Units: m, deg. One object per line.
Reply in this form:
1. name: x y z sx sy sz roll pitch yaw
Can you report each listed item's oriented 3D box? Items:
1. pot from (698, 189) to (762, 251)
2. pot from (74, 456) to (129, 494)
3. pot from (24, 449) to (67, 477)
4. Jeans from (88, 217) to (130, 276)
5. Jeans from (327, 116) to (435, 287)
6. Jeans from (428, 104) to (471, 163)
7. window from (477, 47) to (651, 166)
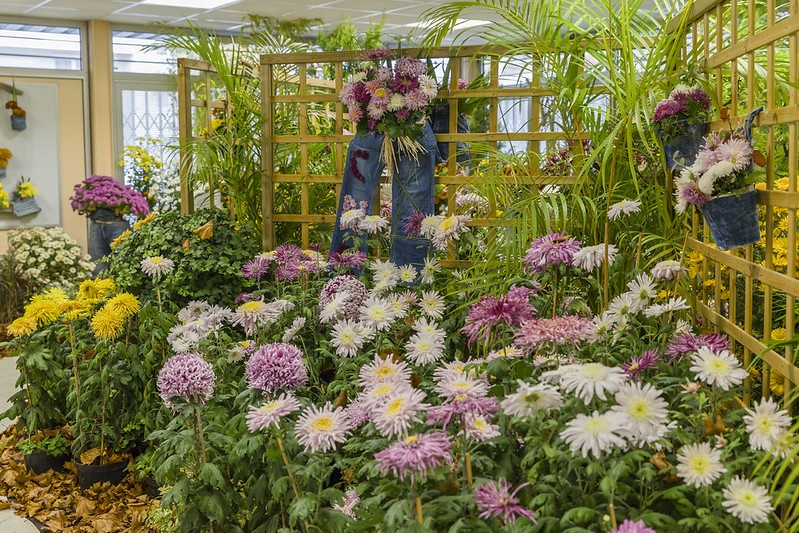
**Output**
1. pot: 1.182 -0.183 2.257 0.213 0.213 0.218 -15 7 2
2. pot: -1.438 0.999 3.010 0.170 0.134 0.186 0 -9 0
3. pot: -1.812 1.007 3.215 0.141 0.068 0.130 0 -6 0
4. Jeans: -2.368 -0.117 5.092 0.256 0.593 0.189 4 19 -13
5. Jeans: -0.067 -0.390 3.564 0.544 0.228 1.238 0 52 0
6. Jeans: 0.266 -0.752 3.492 0.274 0.384 0.201 -12 14 -39
7. window: 0.845 -0.858 2.957 0.610 0.365 0.548 11 2 15
